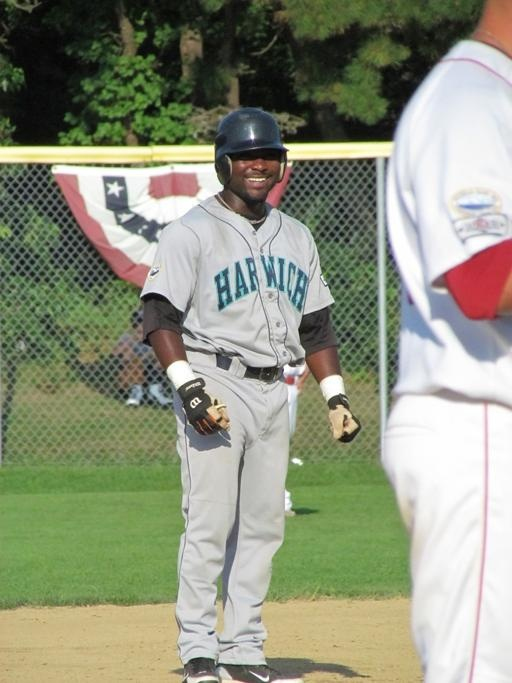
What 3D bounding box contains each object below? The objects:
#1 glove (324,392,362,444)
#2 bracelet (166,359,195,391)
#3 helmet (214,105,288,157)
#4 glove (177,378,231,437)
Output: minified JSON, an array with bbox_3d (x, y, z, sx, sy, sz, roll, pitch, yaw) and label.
[{"bbox_3d":[0.343,0.314,5.448,0.123,0.081,0.186,21,34,-44],"label":"glove"},{"bbox_3d":[-0.287,0.119,5.177,0.094,0.069,0.117,-14,34,-24],"label":"bracelet"},{"bbox_3d":[-0.036,-0.864,5.493,0.194,0.188,0.254,-2,20,-15],"label":"helmet"},{"bbox_3d":[-0.200,0.237,5.062,0.167,0.202,0.088,-28,-6,11],"label":"glove"}]
